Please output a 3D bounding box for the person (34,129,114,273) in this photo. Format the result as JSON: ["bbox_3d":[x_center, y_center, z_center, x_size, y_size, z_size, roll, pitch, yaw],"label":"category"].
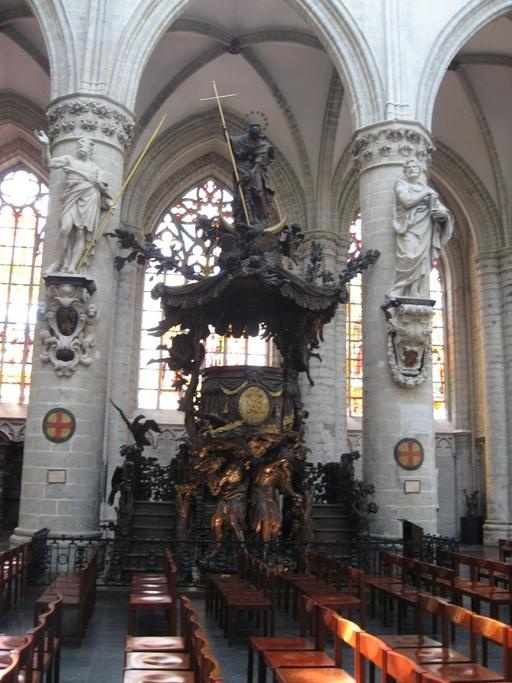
[{"bbox_3d":[-2.859,-2.167,13.961,0.961,2.275,0.404,3,-12,-9],"label":"person"}]

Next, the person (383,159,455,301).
[{"bbox_3d":[2.872,-1.951,15.064,1.028,2.486,0.566,6,-12,-22],"label":"person"}]
